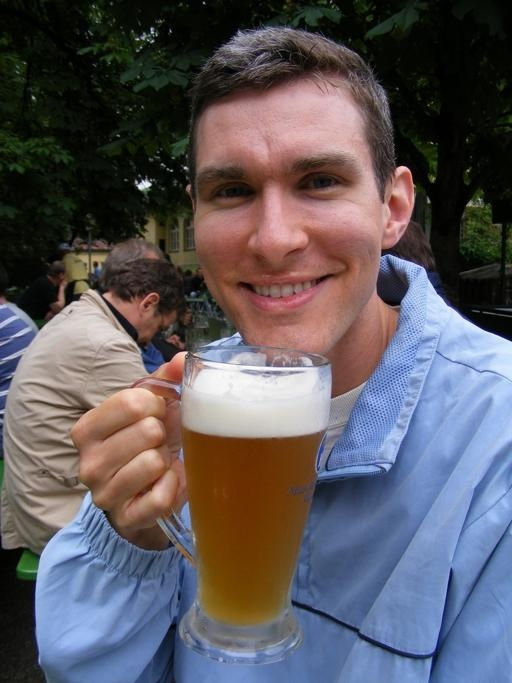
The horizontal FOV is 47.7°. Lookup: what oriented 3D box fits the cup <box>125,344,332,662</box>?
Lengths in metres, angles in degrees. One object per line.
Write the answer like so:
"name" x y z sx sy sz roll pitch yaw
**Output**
"cup" -0.063 0.229 0.927 0.300 0.438 0.209 5 9 31
